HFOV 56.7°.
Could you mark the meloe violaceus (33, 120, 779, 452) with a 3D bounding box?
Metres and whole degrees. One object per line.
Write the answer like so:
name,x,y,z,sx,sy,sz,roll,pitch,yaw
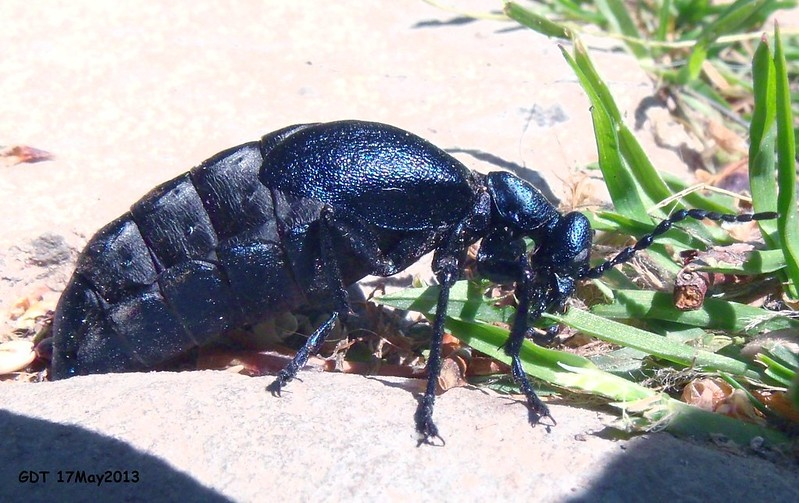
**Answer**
meloe violaceus,-0.327,0.048,3.385,2.380,0.973,1.061,4,38,7
